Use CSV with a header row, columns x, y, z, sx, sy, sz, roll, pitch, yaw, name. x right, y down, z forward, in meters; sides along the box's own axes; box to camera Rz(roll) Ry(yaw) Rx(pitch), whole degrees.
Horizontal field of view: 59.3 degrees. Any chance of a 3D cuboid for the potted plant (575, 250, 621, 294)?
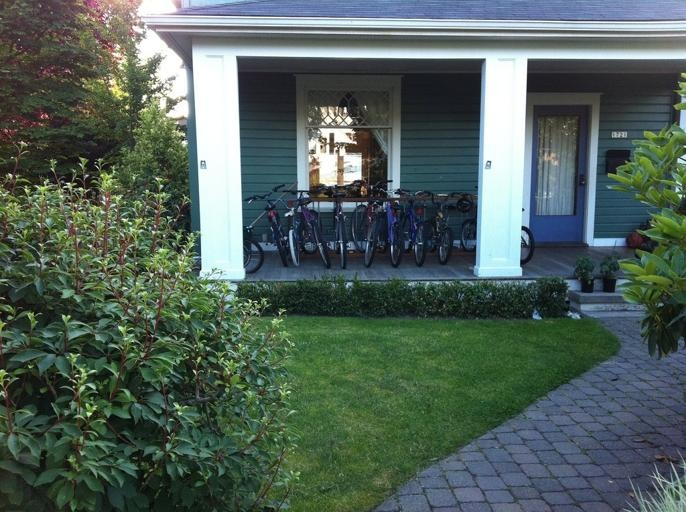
x,y,z,sx,sy,sz,roll,pitch,yaw,name
3.467,0.260,8.205,0.518,0.451,0.372,-3,8,-1,potted plant
